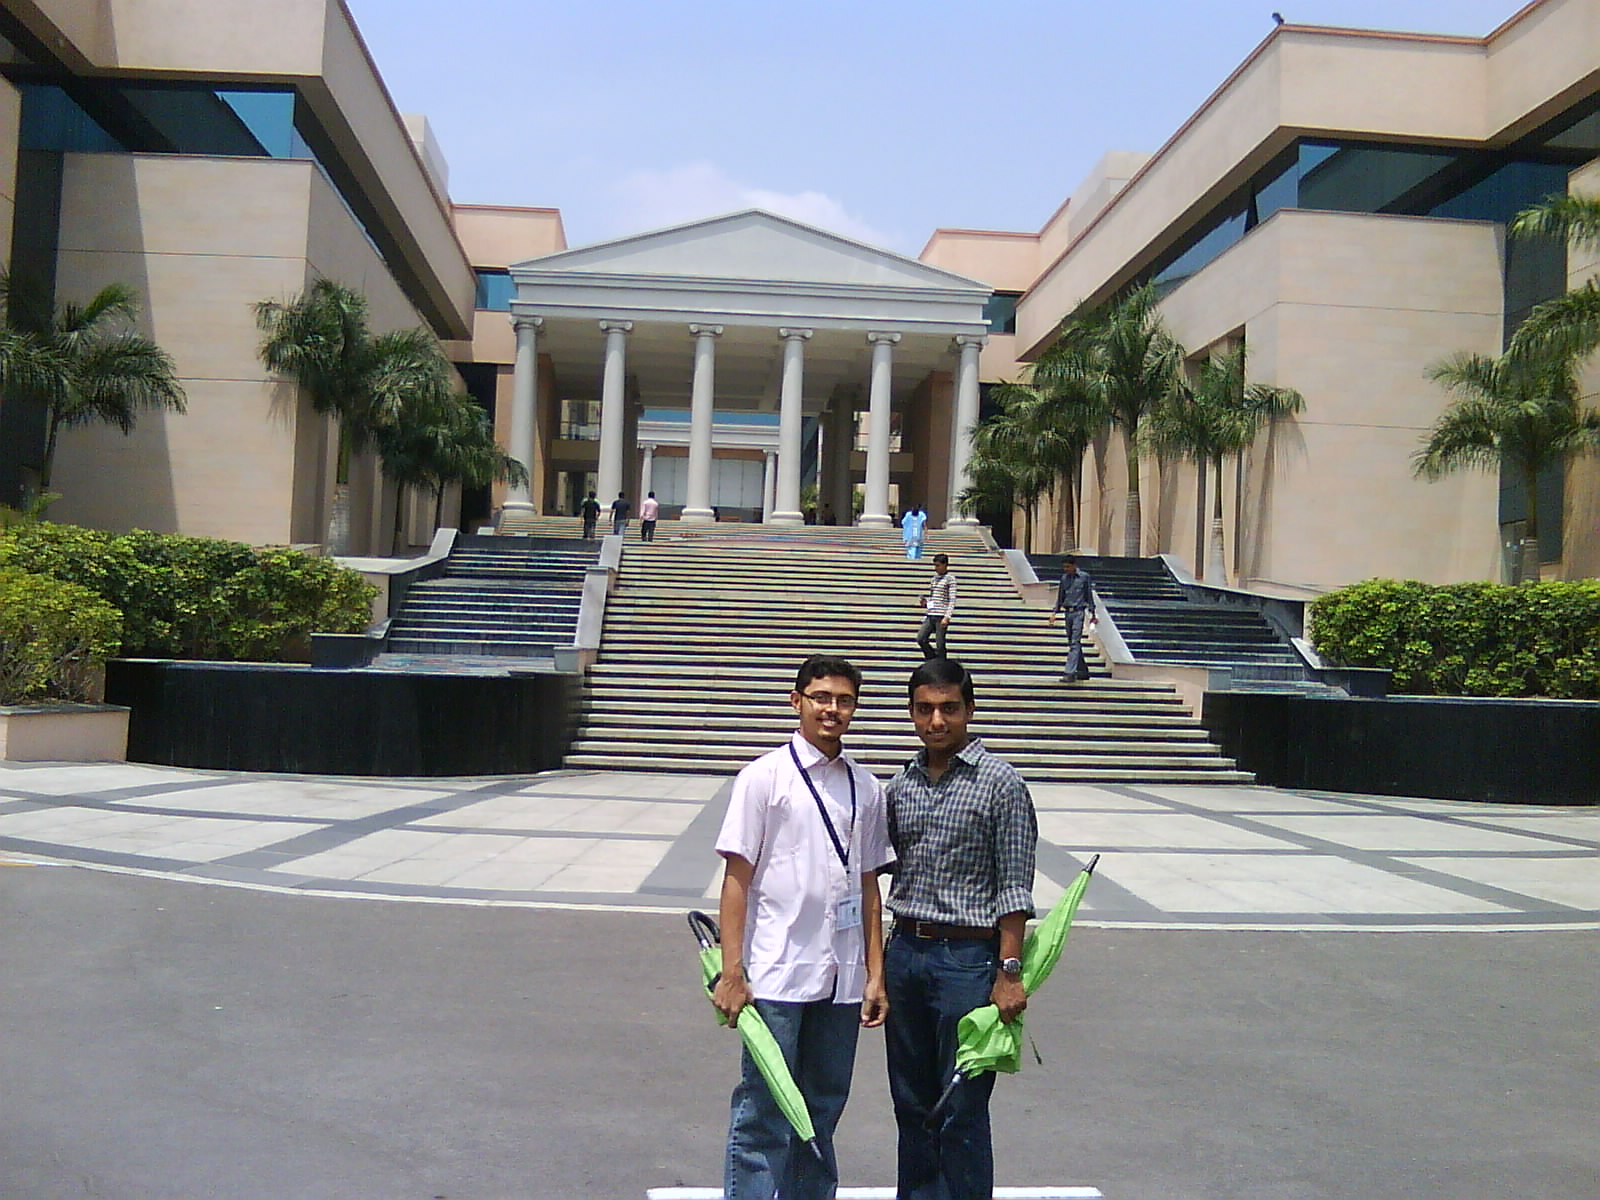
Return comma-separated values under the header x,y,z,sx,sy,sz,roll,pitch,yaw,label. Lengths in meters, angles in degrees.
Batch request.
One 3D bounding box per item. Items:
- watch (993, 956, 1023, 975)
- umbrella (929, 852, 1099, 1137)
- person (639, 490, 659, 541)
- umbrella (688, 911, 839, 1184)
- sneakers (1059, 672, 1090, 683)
x,y,z,sx,sy,sz,roll,pitch,yaw,label
0.883,1.525,5.642,0.083,0.067,0.082,-10,-11,43,watch
1.133,1.843,6.672,0.620,1.365,2.426,2,-3,13,umbrella
-3.763,-2.078,34.051,0.331,1.190,1.231,3,-3,-9,person
-0.189,1.788,5.701,0.339,1.357,0.238,-15,-37,-14,umbrella
4.470,1.266,21.874,0.520,0.238,0.156,10,-14,-40,sneakers
